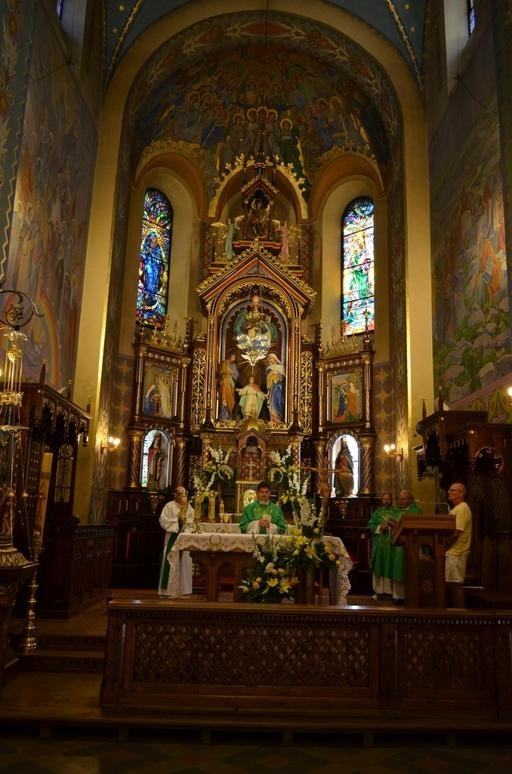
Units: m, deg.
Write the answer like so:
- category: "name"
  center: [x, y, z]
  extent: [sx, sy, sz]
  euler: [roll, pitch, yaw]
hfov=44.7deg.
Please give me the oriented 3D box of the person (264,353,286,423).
- category: "person"
  center: [0.445, 0.006, 14.696]
  extent: [0.438, 1.461, 0.916]
  euler: [2, 7, 0]
